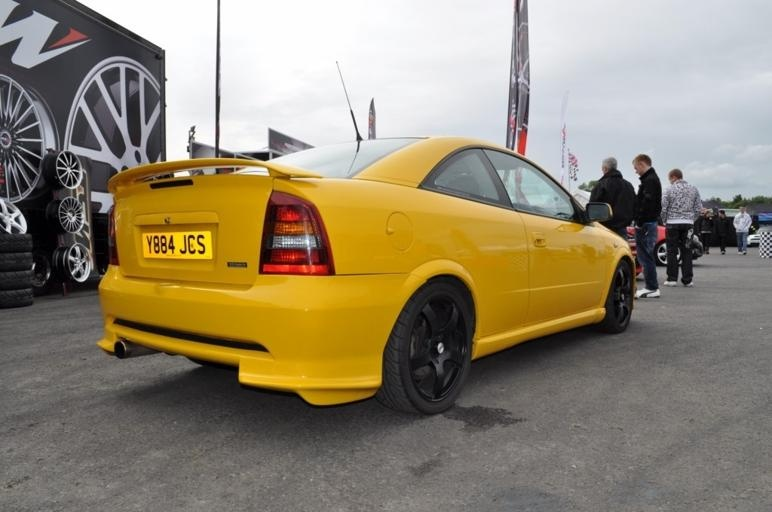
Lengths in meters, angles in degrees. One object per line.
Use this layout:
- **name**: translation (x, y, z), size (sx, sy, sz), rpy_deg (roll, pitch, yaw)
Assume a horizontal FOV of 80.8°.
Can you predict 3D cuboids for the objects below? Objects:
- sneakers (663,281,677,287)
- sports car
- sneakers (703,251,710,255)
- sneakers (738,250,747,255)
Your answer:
- **sneakers**: translation (6.052, 0.609, 9.725), size (0.110, 0.124, 0.257), rpy_deg (-3, 5, -31)
- **sports car**: translation (0.408, 0.072, 4.039), size (1.965, 1.422, 4.151), rpy_deg (-1, 5, 42)
- **sneakers**: translation (14.398, -0.105, 20.605), size (0.389, 0.110, 0.273), rpy_deg (-1, -1, -39)
- **sneakers**: translation (17.545, -0.132, 22.525), size (0.556, 0.243, 0.202), rpy_deg (3, -8, -41)
